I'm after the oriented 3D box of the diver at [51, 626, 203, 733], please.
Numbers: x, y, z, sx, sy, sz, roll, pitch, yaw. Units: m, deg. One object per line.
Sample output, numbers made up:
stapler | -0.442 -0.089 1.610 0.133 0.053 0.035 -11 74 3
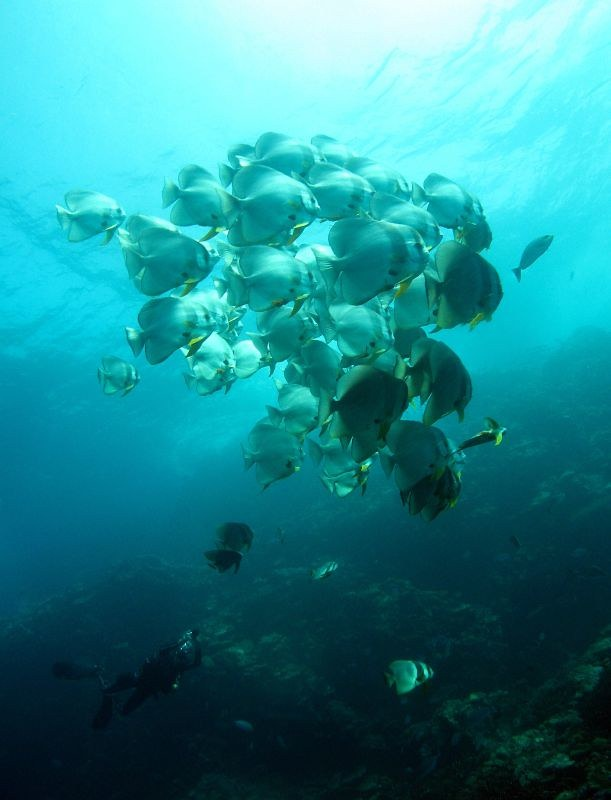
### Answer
diver | -3.804 6.392 17.173 3.397 0.983 1.440 -13 -13 -9
